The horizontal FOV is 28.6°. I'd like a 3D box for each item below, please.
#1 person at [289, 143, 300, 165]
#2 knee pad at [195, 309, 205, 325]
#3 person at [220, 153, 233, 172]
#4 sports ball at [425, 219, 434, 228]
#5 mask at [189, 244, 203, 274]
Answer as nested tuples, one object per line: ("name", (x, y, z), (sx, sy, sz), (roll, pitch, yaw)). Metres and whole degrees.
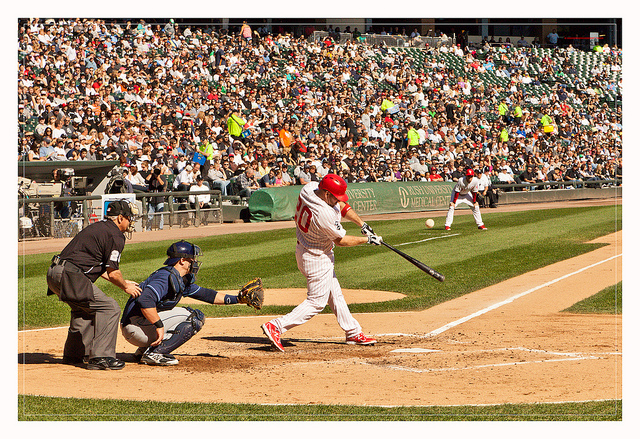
("person", (-1.033, -2.552, 47.820), (0.320, 0.786, 0.630), (-4, 6, -39))
("knee pad", (-3.034, 2.339, 31.476), (0.109, 0.284, 0.285), (-37, -5, 10))
("person", (-3.392, -2.116, 45.196), (0.364, 0.619, 0.780), (1, 4, 4))
("sports ball", (3.663, 0.028, 42.213), (0.273, 0.264, 0.271), (-3, -12, -1))
("mask", (-3.152, 0.929, 31.472), (0.558, 0.604, 0.453), (8, 0, -13))
